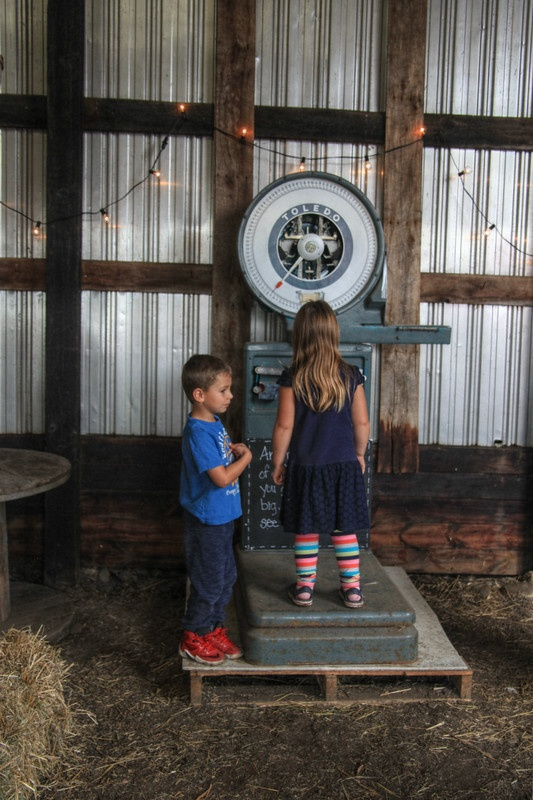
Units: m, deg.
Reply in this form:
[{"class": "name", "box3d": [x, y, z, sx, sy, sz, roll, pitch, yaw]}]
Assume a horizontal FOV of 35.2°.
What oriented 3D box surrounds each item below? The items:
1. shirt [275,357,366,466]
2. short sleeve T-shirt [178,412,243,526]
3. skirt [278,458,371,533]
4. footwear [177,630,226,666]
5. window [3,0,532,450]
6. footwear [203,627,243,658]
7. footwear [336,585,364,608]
[{"class": "shirt", "box3d": [0.227, 0.064, 3.120, 0.283, 0.368, 0.156, 0, 11, -9]}, {"class": "short sleeve T-shirt", "box3d": [-0.206, 0.260, 3.078, 0.219, 0.385, 0.217, 1, 11, -6]}, {"class": "skirt", "box3d": [0.203, 0.387, 3.167, 0.362, 0.306, 0.212, -1, -22, -3]}, {"class": "footwear", "box3d": [-0.240, 0.903, 3.055, 0.197, 0.131, 0.071, 7, -3, 6]}, {"class": "window", "box3d": [-0.112, -0.915, 4.055, 2.385, 1.599, 0.024, 0, 7, -3]}, {"class": "footwear", "box3d": [-0.150, 0.906, 3.120, 0.183, 0.075, 0.061, 12, -12, 31]}, {"class": "footwear", "box3d": [0.312, 0.743, 3.152, 0.068, 0.058, 0.142, 0, -9, 1]}]
